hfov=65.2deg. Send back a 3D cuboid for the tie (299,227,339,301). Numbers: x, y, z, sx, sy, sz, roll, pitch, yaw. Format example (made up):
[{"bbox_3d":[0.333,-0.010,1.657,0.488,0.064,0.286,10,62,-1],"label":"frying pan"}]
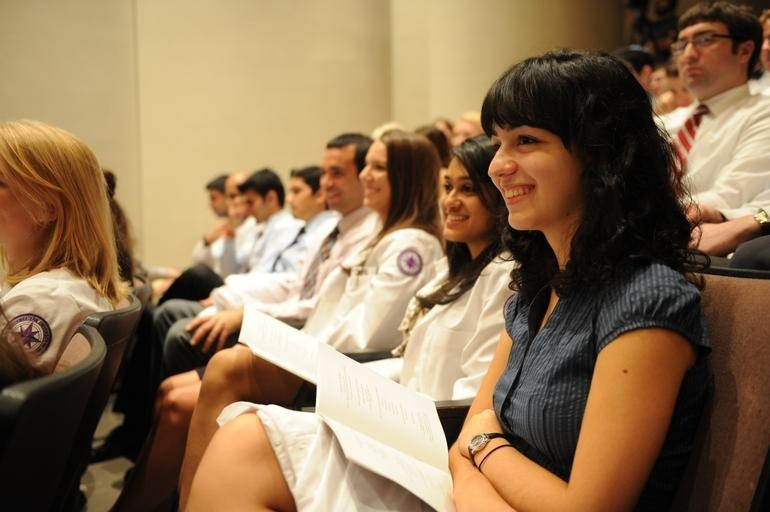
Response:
[{"bbox_3d":[-0.361,0.033,3.325,0.242,0.398,0.207,-4,11,-6],"label":"tie"}]
